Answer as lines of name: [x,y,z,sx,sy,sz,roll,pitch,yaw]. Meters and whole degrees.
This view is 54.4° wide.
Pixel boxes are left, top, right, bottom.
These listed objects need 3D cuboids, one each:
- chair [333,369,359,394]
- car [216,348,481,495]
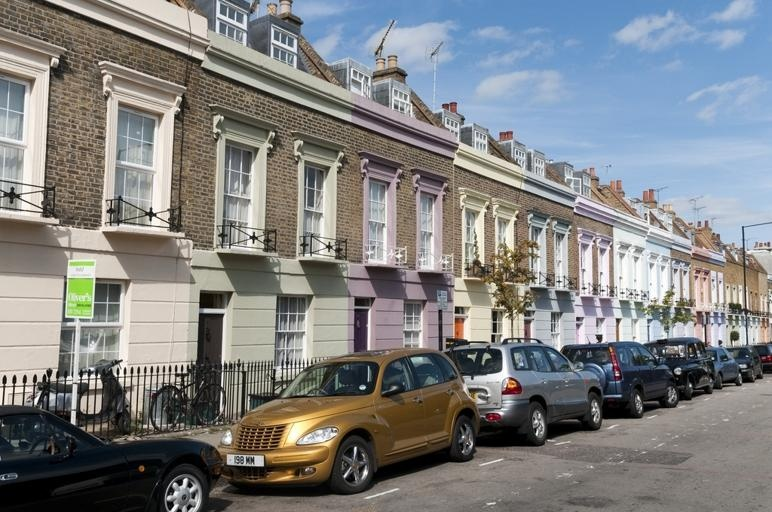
chair: [-0.807,2.565,15.303,0.537,0.388,0.719,2,31,-4]
car: [-0.661,3.311,15.299,5.017,2.782,1.825,5,-13,-37]
